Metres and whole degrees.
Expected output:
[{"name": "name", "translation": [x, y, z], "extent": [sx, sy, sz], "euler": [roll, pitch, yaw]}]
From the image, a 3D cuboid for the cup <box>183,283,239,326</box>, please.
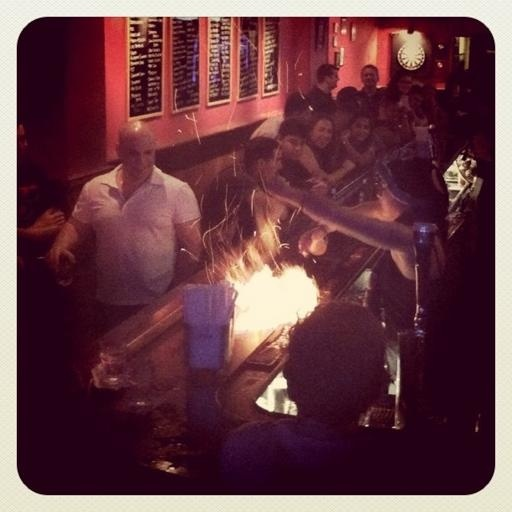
[{"name": "cup", "translation": [-0.155, 0.160, 1.678], "extent": [0.124, 0.118, 0.137], "euler": [1, 7, 2]}]
